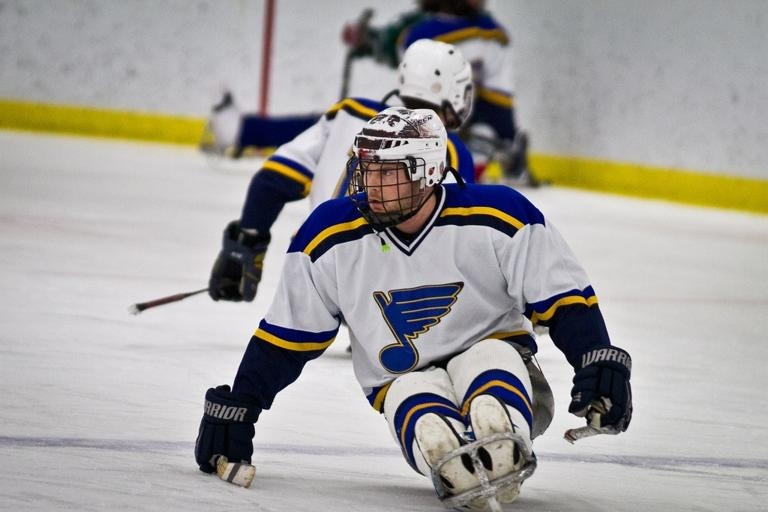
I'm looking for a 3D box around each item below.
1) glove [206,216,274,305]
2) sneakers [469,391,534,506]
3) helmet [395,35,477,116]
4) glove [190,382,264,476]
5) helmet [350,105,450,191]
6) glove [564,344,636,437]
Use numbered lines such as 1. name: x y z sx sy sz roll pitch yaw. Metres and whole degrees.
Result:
1. glove: -0.768 0.053 5.243 0.281 0.464 0.204 13 1 18
2. sneakers: 0.415 0.671 3.606 0.162 0.458 0.206 -24 7 -2
3. helmet: 0.260 -0.904 5.256 0.371 0.404 0.469 20 21 41
4. glove: -0.621 0.685 3.844 0.230 0.305 0.201 12 2 32
5. helmet: 0.063 -0.410 3.930 0.399 0.330 0.324 -13 19 -41
6. glove: 0.804 0.502 3.656 0.233 0.341 0.150 3 -14 13
